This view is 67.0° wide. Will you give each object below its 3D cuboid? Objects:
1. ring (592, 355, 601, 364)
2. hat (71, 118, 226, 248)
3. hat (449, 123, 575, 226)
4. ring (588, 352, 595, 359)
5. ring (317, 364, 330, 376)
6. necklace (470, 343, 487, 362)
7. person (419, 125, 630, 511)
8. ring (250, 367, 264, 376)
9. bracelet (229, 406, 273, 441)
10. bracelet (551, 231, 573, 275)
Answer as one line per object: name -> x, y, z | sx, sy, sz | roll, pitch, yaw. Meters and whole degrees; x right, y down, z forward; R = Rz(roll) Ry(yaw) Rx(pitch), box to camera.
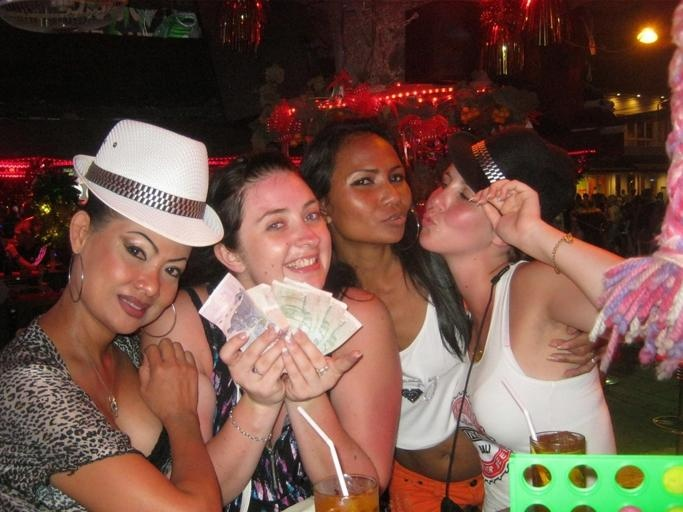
ring -> 1.278, 0.522, 2.602 | 0.057, 0.051, 0.014 | 4, 8, -40
hat -> -0.885, -0.288, 2.377 | 0.652, 0.339, 0.533 | 25, 20, 12
hat -> 0.966, -0.345, 2.808 | 0.613, 0.230, 0.491 | 29, 32, -31
ring -> 1.244, 0.495, 2.566 | 0.030, 0.040, 0.011 | -24, -1, -32
ring -> -0.084, 0.498, 2.244 | 0.047, 0.025, 0.049 | -27, 10, 5
necklace -> 0.739, 0.519, 2.801 | 0.024, 0.093, 0.075 | 19, -14, -27
person -> 0.904, 0.424, 2.759 | 0.678, 2.182, 0.992 | -13, 15, -36
ring -> -0.365, 0.499, 2.222 | 0.016, 0.046, 0.034 | -53, 19, -18
bracelet -> -0.425, 0.805, 2.400 | 0.138, 0.154, 0.034 | -7, 32, 37
bracelet -> 0.904, -0.016, 2.149 | 0.111, 0.140, 0.038 | 7, -2, 25
